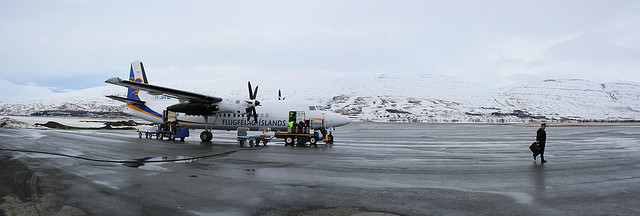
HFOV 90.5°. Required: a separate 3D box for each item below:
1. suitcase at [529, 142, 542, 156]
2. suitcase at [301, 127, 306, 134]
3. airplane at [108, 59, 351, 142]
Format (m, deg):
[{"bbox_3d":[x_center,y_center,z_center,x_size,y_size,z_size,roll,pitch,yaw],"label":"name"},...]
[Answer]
[{"bbox_3d":[31.602,6.051,46.513,1.490,1.932,0.497,0,-1,21],"label":"suitcase"},{"bbox_3d":[-2.866,3.751,54.727,0.753,0.964,0.168,0,-1,-3],"label":"suitcase"},{"bbox_3d":[-16.881,0.386,57.834,33.085,6.060,23.520,2,4,-3],"label":"airplane"}]
